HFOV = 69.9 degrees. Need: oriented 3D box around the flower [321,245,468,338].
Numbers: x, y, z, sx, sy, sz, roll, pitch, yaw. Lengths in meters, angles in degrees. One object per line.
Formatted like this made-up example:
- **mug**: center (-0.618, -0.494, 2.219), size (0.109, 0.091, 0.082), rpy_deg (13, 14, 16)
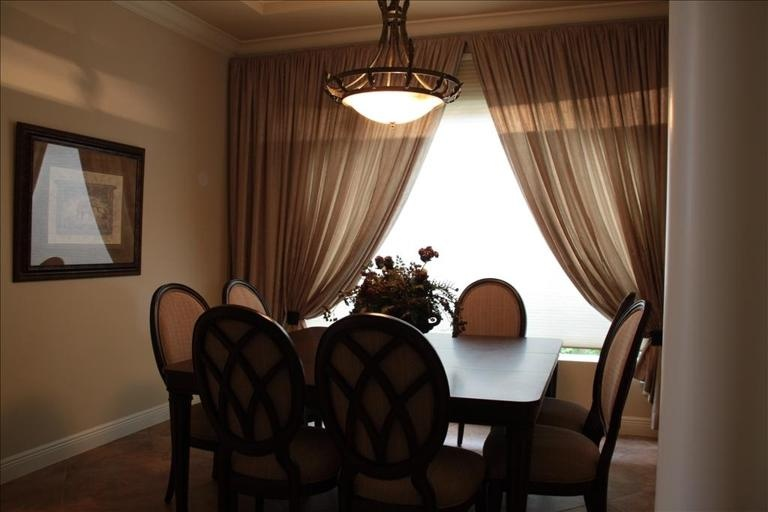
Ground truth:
- **flower**: center (0.121, 0.208, 3.085), size (0.613, 0.389, 0.624), rpy_deg (2, -2, 3)
